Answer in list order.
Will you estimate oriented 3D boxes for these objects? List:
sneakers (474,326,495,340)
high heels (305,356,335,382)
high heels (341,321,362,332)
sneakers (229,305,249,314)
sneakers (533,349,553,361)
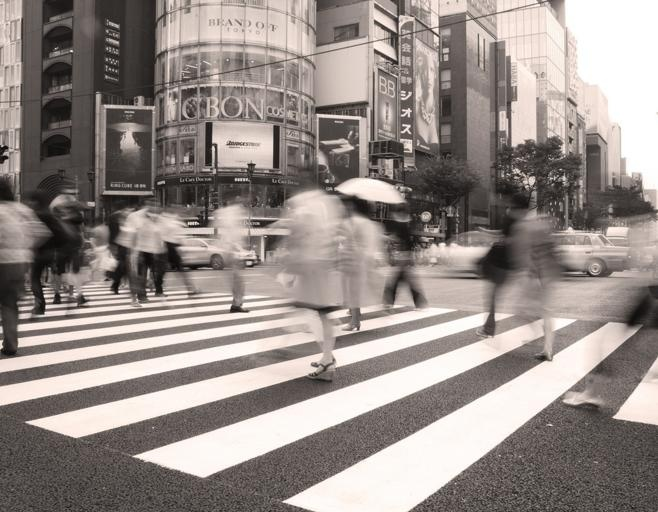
[{"bbox_3d":[2.039,0.998,8.814,0.241,0.252,0.132,9,-1,27],"label":"sneakers"},{"bbox_3d":[-0.076,1.129,6.843,0.277,0.218,0.213,1,4,7],"label":"high heels"},{"bbox_3d":[0.315,1.005,9.611,0.273,0.144,0.099,4,-3,-4],"label":"high heels"},{"bbox_3d":[-1.473,0.896,11.290,0.364,0.171,0.122,3,0,-12],"label":"sneakers"},{"bbox_3d":[2.444,1.137,7.694,0.119,0.058,0.123,8,4,36],"label":"sneakers"}]
